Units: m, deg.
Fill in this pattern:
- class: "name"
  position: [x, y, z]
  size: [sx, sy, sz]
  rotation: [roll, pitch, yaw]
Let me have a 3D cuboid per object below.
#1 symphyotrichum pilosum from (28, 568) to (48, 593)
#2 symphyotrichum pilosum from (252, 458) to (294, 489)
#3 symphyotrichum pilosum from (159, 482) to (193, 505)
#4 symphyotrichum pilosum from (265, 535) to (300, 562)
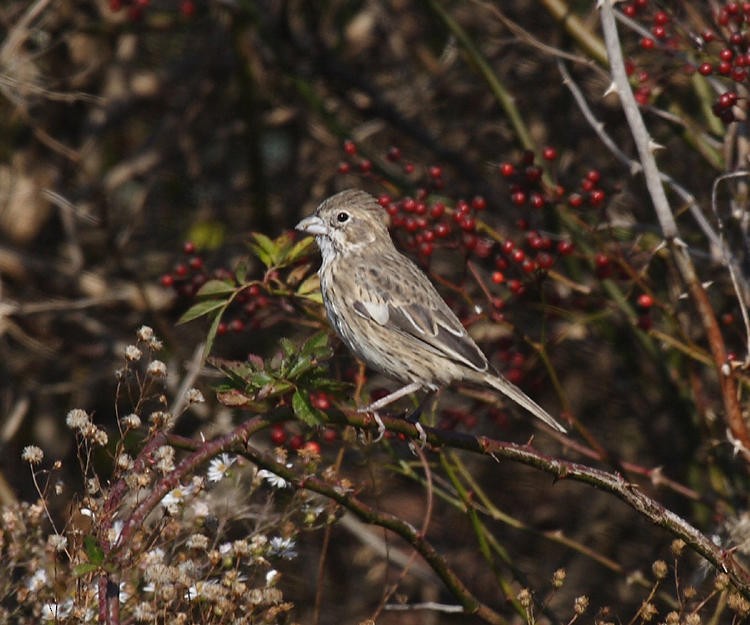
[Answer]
- class: "symphyotrichum pilosum"
  position: [-1.670, 1.341, 6.059]
  size: [0.126, 0.115, 0.042]
  rotation: [-39, -65, 12]
- class: "symphyotrichum pilosum"
  position: [-0.495, 0.776, 5.973]
  size: [0.186, 0.189, 0.051]
  rotation: [27, -95, -56]
- class: "symphyotrichum pilosum"
  position: [-0.941, 0.864, 5.785]
  size: [0.111, 0.028, 0.117]
  rotation: [-23, 7, 30]
- class: "symphyotrichum pilosum"
  position: [-0.449, 1.165, 5.969]
  size: [0.134, 0.076, 0.147]
  rotation: [-20, -34, 40]
